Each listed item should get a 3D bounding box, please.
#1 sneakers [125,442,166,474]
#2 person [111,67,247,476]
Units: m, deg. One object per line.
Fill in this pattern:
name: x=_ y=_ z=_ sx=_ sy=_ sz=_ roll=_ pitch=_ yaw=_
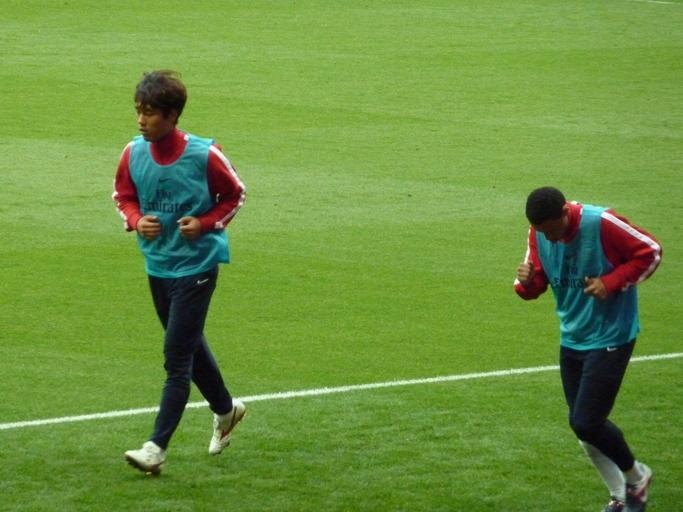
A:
sneakers: x=-1.331 y=1.426 z=8.908 sx=0.337 sy=0.182 sz=0.156 roll=24 pitch=10 yaw=-45
person: x=-1.138 y=0.118 z=9.010 sx=0.950 sy=2.798 sz=0.997 roll=0 pitch=15 yaw=-9
